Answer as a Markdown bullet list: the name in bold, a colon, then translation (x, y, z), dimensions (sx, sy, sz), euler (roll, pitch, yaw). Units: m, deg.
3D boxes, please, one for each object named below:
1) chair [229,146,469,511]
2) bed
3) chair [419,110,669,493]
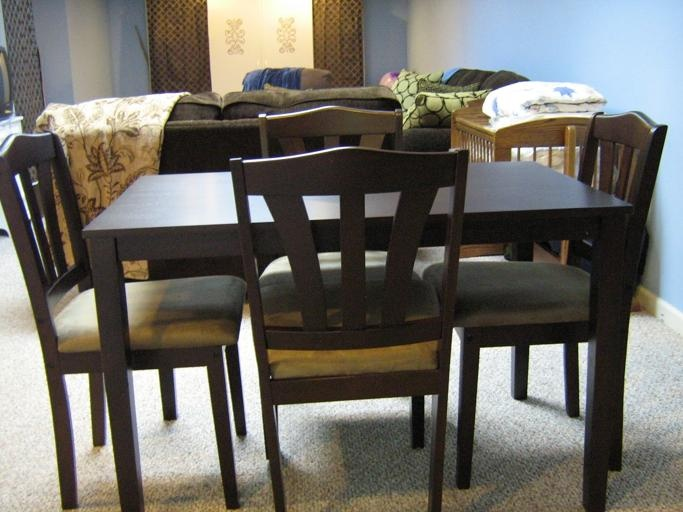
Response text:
- **chair**: translation (0.039, 0.216, 1.857), dimensions (0.629, 1.139, 0.444), euler (0, 20, 1)
- **bed**: translation (0.892, -0.421, 3.509), dimensions (0.490, 0.720, 0.830), euler (12, 15, -11)
- **chair**: translation (0.662, 0.093, 2.153), dimensions (0.670, 1.165, 0.675), euler (0, 13, 14)
